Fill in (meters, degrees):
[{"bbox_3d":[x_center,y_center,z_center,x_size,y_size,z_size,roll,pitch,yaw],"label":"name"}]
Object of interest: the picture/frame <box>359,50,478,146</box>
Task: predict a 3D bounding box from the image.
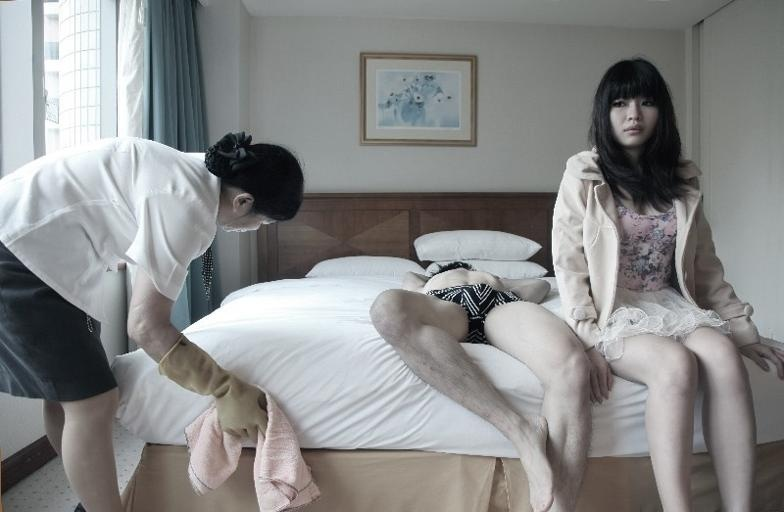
[{"bbox_3d":[0.161,-1.200,4.710,0.611,0.524,0.024,0,0,-4],"label":"picture/frame"}]
